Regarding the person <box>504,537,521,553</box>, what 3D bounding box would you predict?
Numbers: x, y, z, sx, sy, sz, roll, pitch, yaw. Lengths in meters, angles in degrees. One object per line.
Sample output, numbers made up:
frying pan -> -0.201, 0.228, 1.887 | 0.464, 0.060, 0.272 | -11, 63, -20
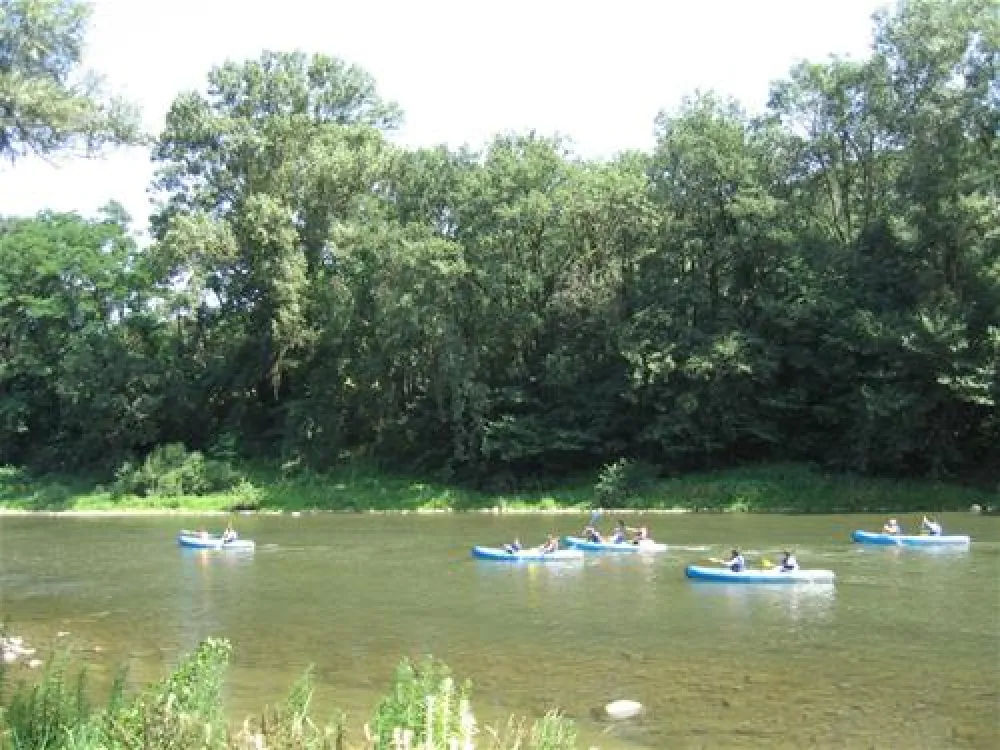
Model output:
person -> 0.578, 7.581, 47.550 | 0.387, 0.504, 0.799 | 4, 10, 14

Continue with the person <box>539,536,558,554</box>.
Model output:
person -> 2.159, 7.598, 47.772 | 0.656, 0.510, 0.805 | 14, 19, 43

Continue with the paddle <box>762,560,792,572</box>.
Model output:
paddle -> 10.689, 7.467, 42.432 | 1.454, 0.378, 0.460 | -8, -35, 43

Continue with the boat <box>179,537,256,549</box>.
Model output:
boat -> -13.308, 7.916, 51.460 | 4.099, 0.481, 1.400 | -1, -2, 20

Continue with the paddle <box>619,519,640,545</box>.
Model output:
paddle -> 6.421, 7.944, 54.745 | 0.525, 1.199, 1.742 | -1, 5, 3

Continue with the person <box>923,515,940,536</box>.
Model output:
person -> 19.997, 7.067, 50.955 | 0.403, 1.013, 0.547 | -4, 16, -14

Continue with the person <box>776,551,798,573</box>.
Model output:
person -> 11.333, 7.443, 43.416 | 0.547, 1.125, 0.709 | -7, -7, 29
